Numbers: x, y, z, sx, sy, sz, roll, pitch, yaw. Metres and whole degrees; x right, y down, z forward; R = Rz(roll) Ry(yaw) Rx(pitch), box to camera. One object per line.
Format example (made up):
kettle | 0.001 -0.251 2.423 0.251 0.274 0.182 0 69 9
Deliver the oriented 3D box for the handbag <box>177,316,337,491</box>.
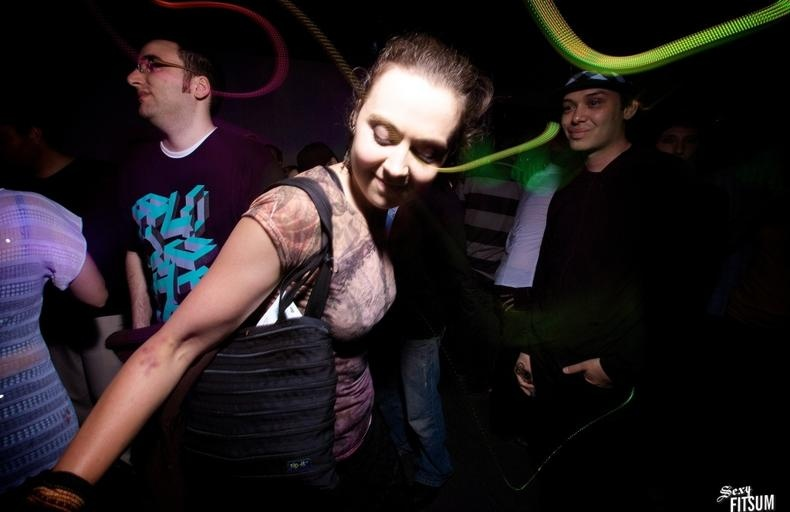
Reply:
handbag | -0.798 0.796 3.179 0.997 0.897 0.510 -2 -5 -4

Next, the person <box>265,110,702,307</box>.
person | 0.732 -0.280 4.035 1.629 1.540 0.489 6 -3 23
